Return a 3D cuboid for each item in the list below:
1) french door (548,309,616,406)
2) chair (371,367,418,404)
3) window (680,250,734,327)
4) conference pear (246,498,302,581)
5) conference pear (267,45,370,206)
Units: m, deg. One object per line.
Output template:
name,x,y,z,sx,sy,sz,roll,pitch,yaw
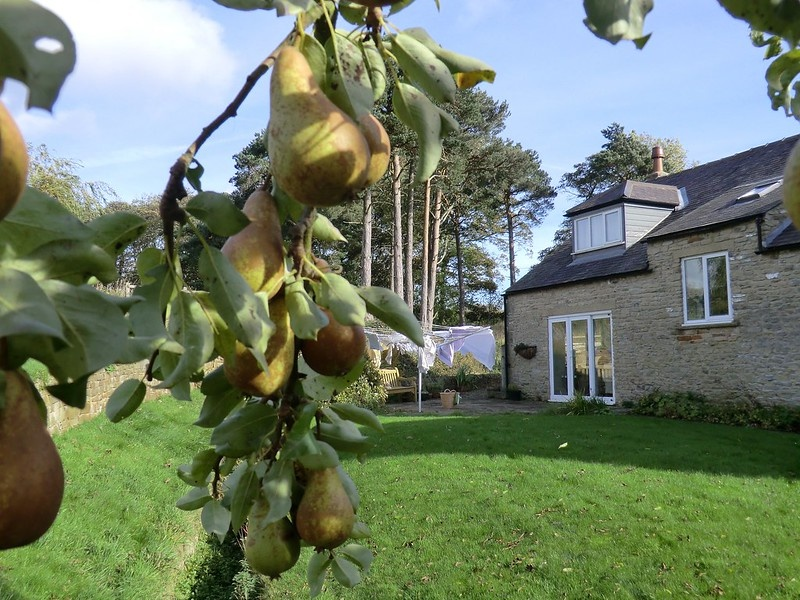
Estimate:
french door,5.570,1.723,17.434,0.323,3.047,2.572,5,-9,-38
chair,-0.232,3.190,21.416,0.673,1.035,1.674,-2,-4,30
window,7.515,-0.268,14.064,0.178,2.205,1.640,6,-9,-28
conference pear,-0.229,0.382,0.988,0.074,0.158,0.074,-8,-1,-22
conference pear,-0.133,-0.247,0.837,0.101,0.226,0.097,-21,-30,-14
